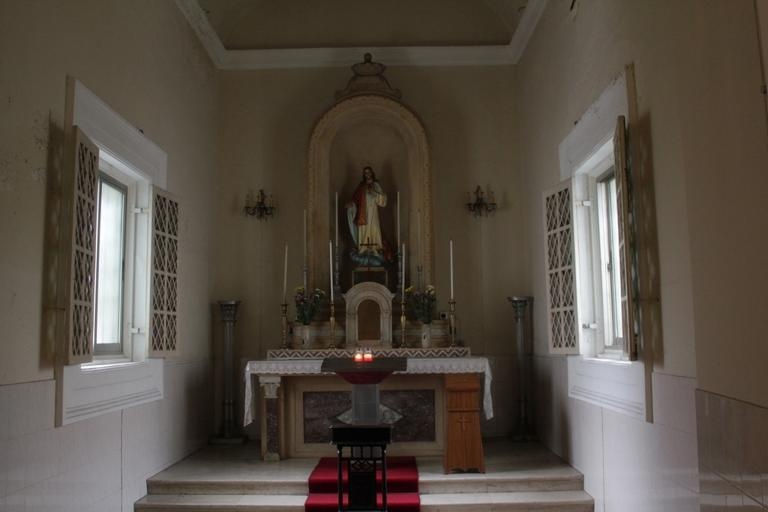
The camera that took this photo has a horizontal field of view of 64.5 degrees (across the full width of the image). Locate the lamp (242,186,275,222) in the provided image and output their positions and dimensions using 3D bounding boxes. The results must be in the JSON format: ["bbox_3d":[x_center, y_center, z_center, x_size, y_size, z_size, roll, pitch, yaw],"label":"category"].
[{"bbox_3d":[-2.077,-0.821,9.948,0.503,0.543,0.123,2,-11,-4],"label":"lamp"}]

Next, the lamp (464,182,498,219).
[{"bbox_3d":[1.592,-0.885,10.062,0.443,0.632,0.449,4,-9,-6],"label":"lamp"}]

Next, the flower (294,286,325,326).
[{"bbox_3d":[-1.113,0.734,9.068,0.420,0.554,0.339,-1,-9,-5],"label":"flower"}]

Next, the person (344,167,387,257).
[{"bbox_3d":[-0.285,-0.726,9.880,0.625,1.449,0.305,-2,-8,2],"label":"person"}]

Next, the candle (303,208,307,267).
[{"bbox_3d":[-1.273,-0.307,9.867,0.075,0.955,0.205,0,-8,-10],"label":"candle"}]

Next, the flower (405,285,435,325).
[{"bbox_3d":[0.573,0.730,9.252,0.484,0.553,0.526,2,-2,3],"label":"flower"}]

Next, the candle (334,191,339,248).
[{"bbox_3d":[-0.795,-0.624,10.180,0.068,0.960,0.153,-2,-8,3],"label":"candle"}]

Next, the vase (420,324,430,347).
[{"bbox_3d":[0.631,1.173,9.046,0.135,0.335,0.465,-2,-9,6],"label":"vase"}]

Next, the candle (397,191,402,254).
[{"bbox_3d":[0.249,-0.570,10.114,0.095,1.095,0.216,-2,-8,2],"label":"candle"}]
